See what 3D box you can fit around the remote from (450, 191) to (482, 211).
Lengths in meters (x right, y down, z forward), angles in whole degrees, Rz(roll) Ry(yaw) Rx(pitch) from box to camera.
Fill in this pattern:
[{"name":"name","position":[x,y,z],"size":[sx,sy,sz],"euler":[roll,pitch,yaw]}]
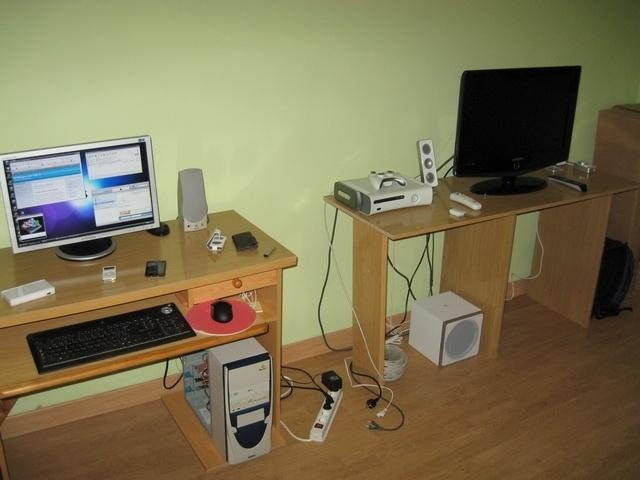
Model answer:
[{"name":"remote","position":[0.818,-0.223,2.901],"size":[0.092,0.049,0.217],"euler":[-20,34,-29]}]

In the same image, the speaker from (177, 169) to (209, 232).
[{"name":"speaker","position":[-0.643,-0.210,2.598],"size":[0.165,0.288,0.179],"euler":[-2,19,-8]}]

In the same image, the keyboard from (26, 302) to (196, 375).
[{"name":"keyboard","position":[-0.904,0.402,2.188],"size":[0.604,0.087,0.475],"euler":[-14,28,-37]}]

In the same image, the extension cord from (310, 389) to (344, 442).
[{"name":"extension cord","position":[0.043,0.929,2.797],"size":[0.087,0.056,0.373],"euler":[10,31,20]}]

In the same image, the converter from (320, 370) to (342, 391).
[{"name":"converter","position":[0.074,0.782,2.961],"size":[0.082,0.077,0.120],"euler":[-5,16,-19]}]

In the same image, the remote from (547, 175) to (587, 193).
[{"name":"remote","position":[1.504,-0.342,3.187],"size":[0.079,0.069,0.291],"euler":[-5,25,-19]}]

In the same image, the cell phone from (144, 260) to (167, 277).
[{"name":"cell phone","position":[-0.716,0.121,2.248],"size":[0.070,0.017,0.072],"euler":[3,44,-8]}]

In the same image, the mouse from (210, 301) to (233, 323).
[{"name":"mouse","position":[-0.442,0.322,2.329],"size":[0.086,0.065,0.087],"euler":[2,12,-2]}]

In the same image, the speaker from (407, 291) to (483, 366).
[{"name":"speaker","position":[0.765,0.548,3.326],"size":[0.392,0.411,0.301],"euler":[-7,23,-24]}]

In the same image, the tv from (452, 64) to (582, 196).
[{"name":"tv","position":[1.158,-0.646,3.113],"size":[0.800,0.696,0.183],"euler":[-8,18,-18]}]

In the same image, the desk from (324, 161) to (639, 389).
[{"name":"desk","position":[1.039,0.158,3.277],"size":[1.859,1.063,0.603],"euler":[-13,31,-19]}]
